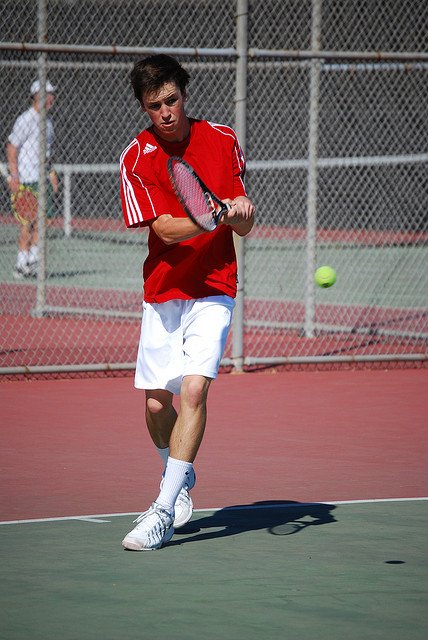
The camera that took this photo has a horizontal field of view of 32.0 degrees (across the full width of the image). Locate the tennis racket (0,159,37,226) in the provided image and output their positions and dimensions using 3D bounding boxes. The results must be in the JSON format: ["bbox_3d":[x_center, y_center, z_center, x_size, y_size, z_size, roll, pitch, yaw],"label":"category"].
[{"bbox_3d":[-2.250,-1.369,8.813,0.285,0.541,1.192,0,4,-15],"label":"tennis racket"}]

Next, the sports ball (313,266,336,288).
[{"bbox_3d":[0.814,-0.317,5.417,0.148,0.137,0.142,-2,8,0],"label":"sports ball"}]

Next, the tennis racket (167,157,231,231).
[{"bbox_3d":[-0.051,-0.411,2.411,0.136,0.246,0.187,-1,4,-32],"label":"tennis racket"}]

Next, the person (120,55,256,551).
[{"bbox_3d":[-0.087,-0.068,2.597,0.476,1.668,0.566,0,3,-6],"label":"person"}]
